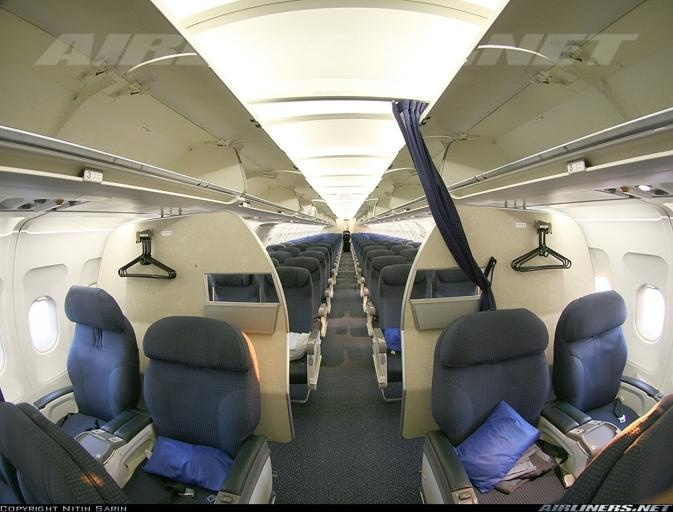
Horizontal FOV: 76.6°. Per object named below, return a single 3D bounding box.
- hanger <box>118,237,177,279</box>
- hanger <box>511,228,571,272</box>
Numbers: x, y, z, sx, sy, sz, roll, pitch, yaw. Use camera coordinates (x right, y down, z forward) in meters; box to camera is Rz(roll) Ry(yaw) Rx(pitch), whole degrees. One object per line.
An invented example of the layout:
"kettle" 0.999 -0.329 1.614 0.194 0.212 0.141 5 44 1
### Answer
"hanger" -1.736 0.021 3.943 0.382 0.289 0.069 0 -1 10
"hanger" 1.940 -0.061 4.031 0.600 0.434 0.169 -4 3 -20
